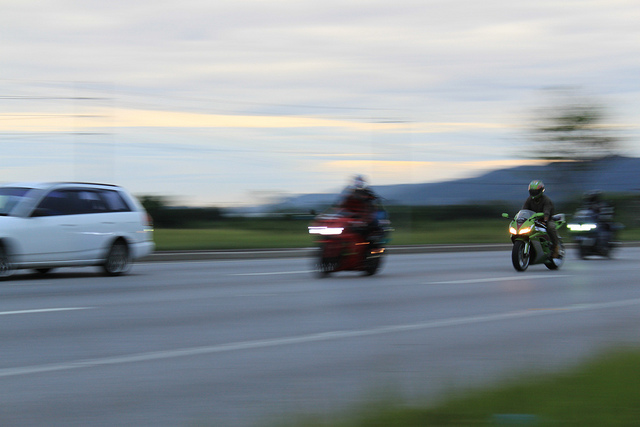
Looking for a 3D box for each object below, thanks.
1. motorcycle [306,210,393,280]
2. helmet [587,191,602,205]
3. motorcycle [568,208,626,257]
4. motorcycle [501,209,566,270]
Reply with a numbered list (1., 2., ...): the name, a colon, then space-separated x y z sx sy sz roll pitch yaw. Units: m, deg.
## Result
1. motorcycle: 0.584 0.659 18.318 0.591 1.502 1.598 10 12 44
2. helmet: 8.216 -0.482 25.327 0.377 0.388 0.414 2 8 15
3. motorcycle: 8.074 0.583 25.056 1.377 1.415 0.638 0 10 5
4. motorcycle: 4.982 0.644 19.659 1.387 1.480 0.544 -8 13 -44
